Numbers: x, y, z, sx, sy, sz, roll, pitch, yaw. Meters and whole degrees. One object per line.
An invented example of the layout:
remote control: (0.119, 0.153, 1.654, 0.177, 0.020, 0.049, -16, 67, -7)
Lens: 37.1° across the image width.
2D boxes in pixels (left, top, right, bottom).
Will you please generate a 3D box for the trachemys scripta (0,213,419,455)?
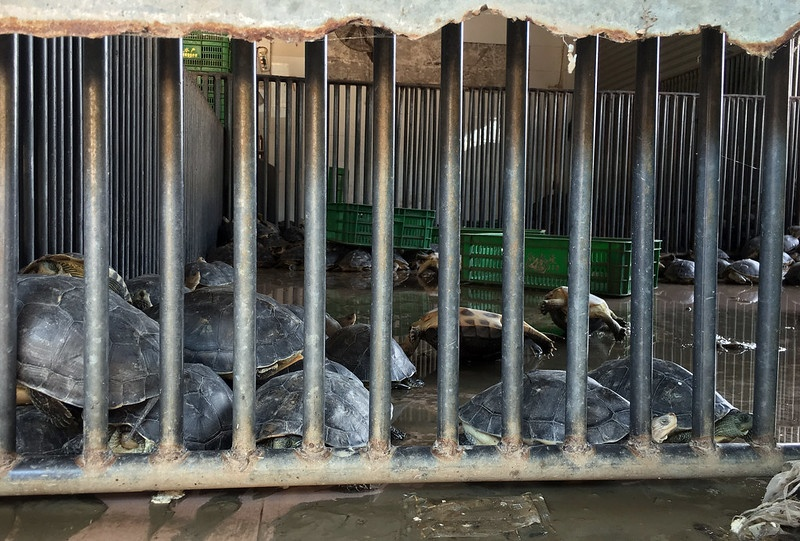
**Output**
trachemys scripta: (-0.962, 0.488, 7.639, 1.744, 0.520, 1.284, 15, 21, -24)

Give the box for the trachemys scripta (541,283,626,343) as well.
trachemys scripta: (1.228, 0.289, 7.681, 0.547, 0.200, 0.389, 35, -16, -12)

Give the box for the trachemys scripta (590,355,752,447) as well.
trachemys scripta: (1.319, 0.582, 5.674, 0.398, 0.190, 0.590, -11, 16, -43)

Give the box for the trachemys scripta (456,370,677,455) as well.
trachemys scripta: (0.696, 0.654, 5.496, 0.682, 0.218, 0.479, -1, 0, 7)
